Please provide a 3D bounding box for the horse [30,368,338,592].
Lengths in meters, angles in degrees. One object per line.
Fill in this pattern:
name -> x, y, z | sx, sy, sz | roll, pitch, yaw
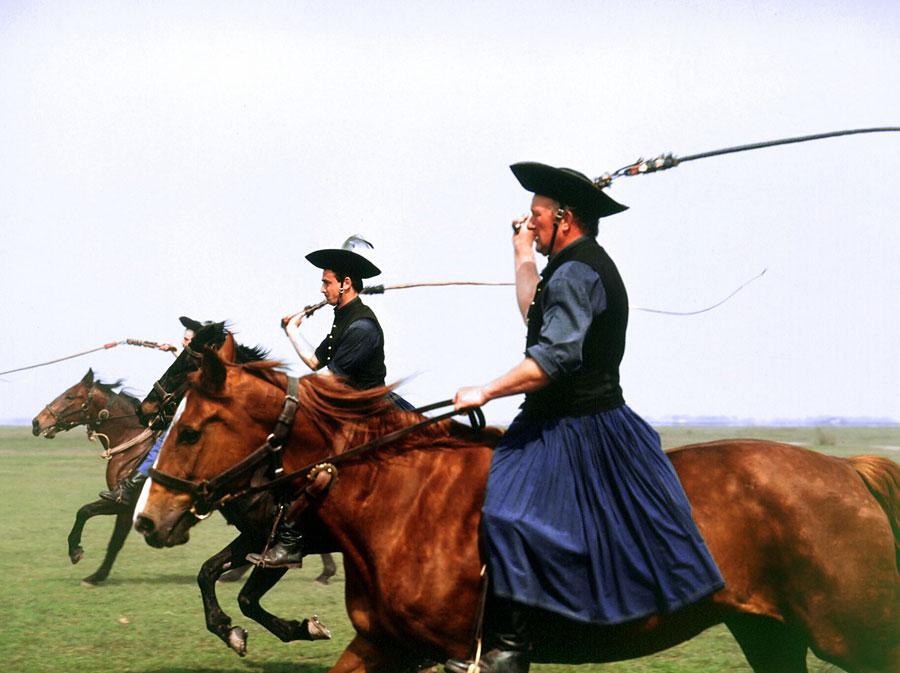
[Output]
horse -> -3.848, 2.204, 12.619 | 4.161, 3.017, 1.056 | 4, -9, 15
